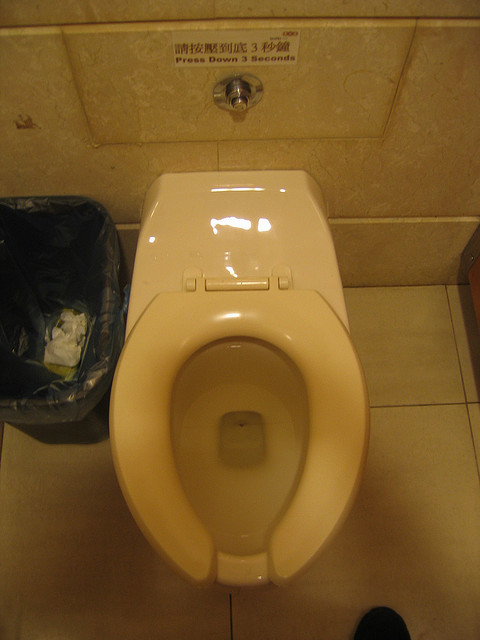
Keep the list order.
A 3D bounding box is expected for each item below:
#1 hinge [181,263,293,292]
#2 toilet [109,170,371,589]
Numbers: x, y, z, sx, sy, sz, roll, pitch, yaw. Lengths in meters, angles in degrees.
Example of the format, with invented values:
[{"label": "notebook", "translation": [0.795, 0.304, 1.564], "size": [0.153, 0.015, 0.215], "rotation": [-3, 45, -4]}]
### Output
[{"label": "hinge", "translation": [-0.005, -0.065, 0.929], "size": [0.228, 0.049, 0.036], "rotation": [1, 30, 1]}, {"label": "toilet", "translation": [-0.022, 0.068, 1.103], "size": [0.451, 0.508, 0.730], "rotation": [0, 76, 3]}]
